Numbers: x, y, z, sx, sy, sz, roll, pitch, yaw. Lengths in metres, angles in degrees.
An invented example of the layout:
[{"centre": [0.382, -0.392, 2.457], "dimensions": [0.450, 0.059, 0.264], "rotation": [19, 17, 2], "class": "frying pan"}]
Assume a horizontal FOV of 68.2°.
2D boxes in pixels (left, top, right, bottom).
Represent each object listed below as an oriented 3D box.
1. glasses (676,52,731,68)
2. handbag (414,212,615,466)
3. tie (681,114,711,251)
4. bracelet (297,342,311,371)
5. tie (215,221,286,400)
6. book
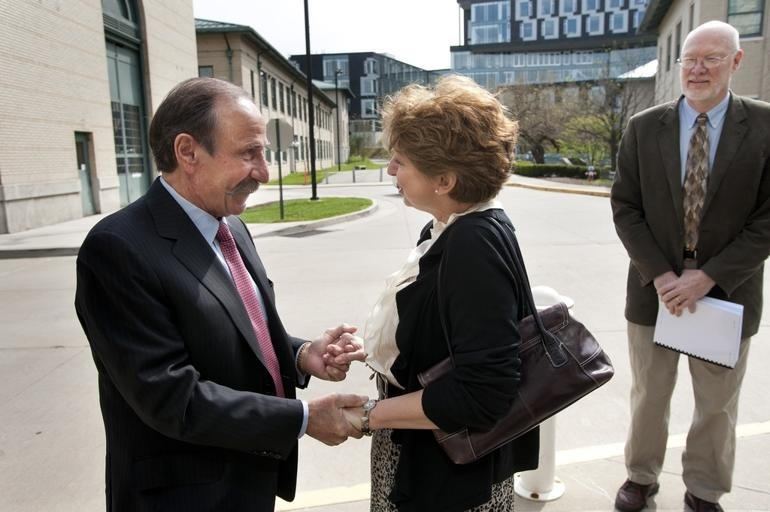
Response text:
[{"centre": [2.069, -1.283, 3.749], "dimensions": [0.299, 0.111, 0.168], "rotation": [3, 12, 38], "class": "glasses"}, {"centre": [0.487, 0.329, 2.688], "dimensions": [0.952, 1.100, 0.335], "rotation": [-27, 14, -9], "class": "handbag"}, {"centre": [2.044, -0.485, 3.752], "dimensions": [0.145, 0.888, 0.213], "rotation": [2, 12, 29], "class": "tie"}, {"centre": [-0.477, 0.591, 3.348], "dimensions": [0.107, 0.138, 0.058], "rotation": [1, -6, -40], "class": "bracelet"}, {"centre": [-0.825, 0.062, 3.109], "dimensions": [0.183, 1.430, 0.159], "rotation": [-25, -26, 9], "class": "tie"}, {"centre": [1.981, 0.511, 3.579], "dimensions": [0.606, 0.518, 0.119], "rotation": [0, 2, -3], "class": "book"}]
